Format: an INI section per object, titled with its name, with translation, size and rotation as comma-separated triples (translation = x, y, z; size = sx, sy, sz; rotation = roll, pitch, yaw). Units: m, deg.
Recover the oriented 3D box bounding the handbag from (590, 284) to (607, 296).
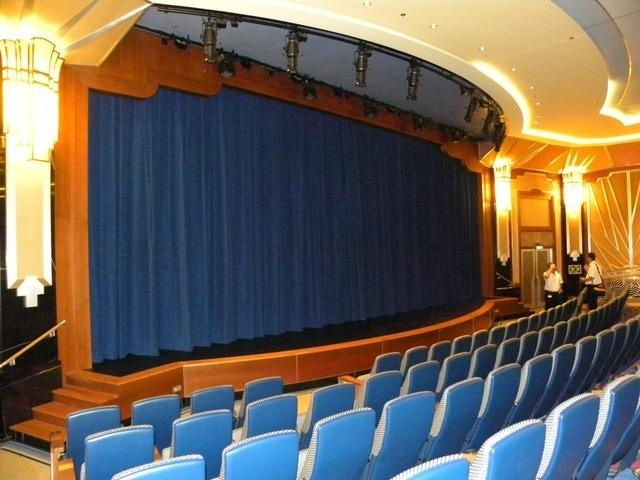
[handbag]
translation = 6.622, 1.205, 13.875
size = 0.319, 0.194, 0.327
rotation = -2, -1, 39
